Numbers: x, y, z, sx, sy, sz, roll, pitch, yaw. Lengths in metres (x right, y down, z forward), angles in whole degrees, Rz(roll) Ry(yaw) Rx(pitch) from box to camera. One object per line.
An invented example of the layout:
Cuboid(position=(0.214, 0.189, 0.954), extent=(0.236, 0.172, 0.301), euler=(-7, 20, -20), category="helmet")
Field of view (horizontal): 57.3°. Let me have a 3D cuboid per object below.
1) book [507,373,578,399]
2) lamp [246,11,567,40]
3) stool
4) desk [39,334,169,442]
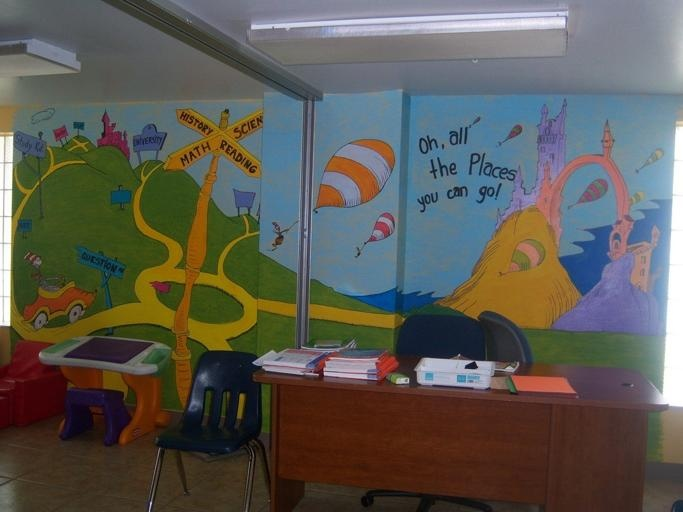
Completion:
Cuboid(position=(1.270, 0.832, 4.033), extent=(0.400, 0.031, 0.308), euler=(2, 9, 5), category="book")
Cuboid(position=(0.449, -1.553, 4.261), extent=(1.401, 0.061, 0.203), euler=(1, 5, 13), category="lamp")
Cuboid(position=(-2.322, 1.496, 5.913), extent=(0.535, 0.423, 0.455), euler=(1, 3, 13), category="stool")
Cuboid(position=(-2.245, 1.297, 6.084), extent=(1.234, 0.802, 0.749), euler=(4, 6, 15), category="desk")
